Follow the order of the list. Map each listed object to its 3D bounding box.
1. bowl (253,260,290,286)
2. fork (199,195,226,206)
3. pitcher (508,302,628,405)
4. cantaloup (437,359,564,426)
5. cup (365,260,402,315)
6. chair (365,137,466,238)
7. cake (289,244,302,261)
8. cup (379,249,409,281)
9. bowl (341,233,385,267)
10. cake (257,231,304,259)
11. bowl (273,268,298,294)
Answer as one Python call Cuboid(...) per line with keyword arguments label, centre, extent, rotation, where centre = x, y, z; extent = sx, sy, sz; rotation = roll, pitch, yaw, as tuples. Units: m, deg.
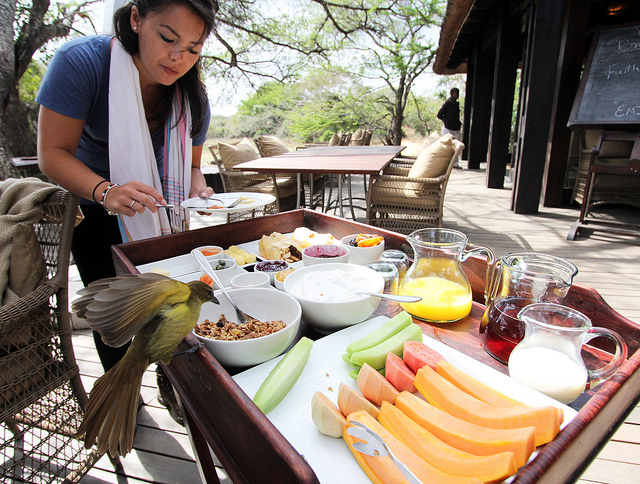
Cuboid(label="bowl", centre=(-0.184, 0.108, 1.521), extent=(0.102, 0.046, 0.100), rotation=(0, 13, 0))
Cuboid(label="fork", centre=(-0.545, -0.208, 1.963), extent=(0.168, 0.025, 0.019), rotation=(18, 39, 17))
Cuboid(label="pitcher", centre=(0.627, 0.261, 1.105), extent=(0.221, 0.243, 0.322), rotation=(-13, 17, -37))
Cuboid(label="cantaloup", centre=(0.435, 0.381, 0.977), extent=(0.323, 0.054, 0.052), rotation=(22, -7, 5))
Cuboid(label="cup", centre=(0.231, 0.149, 1.384), extent=(0.124, 0.165, 0.119), rotation=(3, 13, -1))
Cuboid(label="chair", centre=(0.931, -0.536, 3.961), extent=(0.848, 0.908, 0.405), rotation=(8, 17, 22))
Cuboid(label="cake", centre=(-0.109, 0.045, 1.665), extent=(0.059, 0.060, 0.025), rotation=(11, 19, 30))
Cuboid(label="cup", centre=(0.282, 0.090, 1.517), extent=(0.102, 0.105, 0.102), rotation=(0, 28, 0))
Cuboid(label="bowl", centre=(0.169, 0.011, 1.615), extent=(0.143, 0.082, 0.139), rotation=(-1, 14, 0))
Cuboid(label="cake", centre=(-0.196, 0.001, 1.708), extent=(0.133, 0.048, 0.129), rotation=(-20, 37, -21))
Cuboid(label="bowl", centre=(-0.124, 0.137, 1.427), extent=(0.079, 0.033, 0.077), rotation=(1, 24, 0))
